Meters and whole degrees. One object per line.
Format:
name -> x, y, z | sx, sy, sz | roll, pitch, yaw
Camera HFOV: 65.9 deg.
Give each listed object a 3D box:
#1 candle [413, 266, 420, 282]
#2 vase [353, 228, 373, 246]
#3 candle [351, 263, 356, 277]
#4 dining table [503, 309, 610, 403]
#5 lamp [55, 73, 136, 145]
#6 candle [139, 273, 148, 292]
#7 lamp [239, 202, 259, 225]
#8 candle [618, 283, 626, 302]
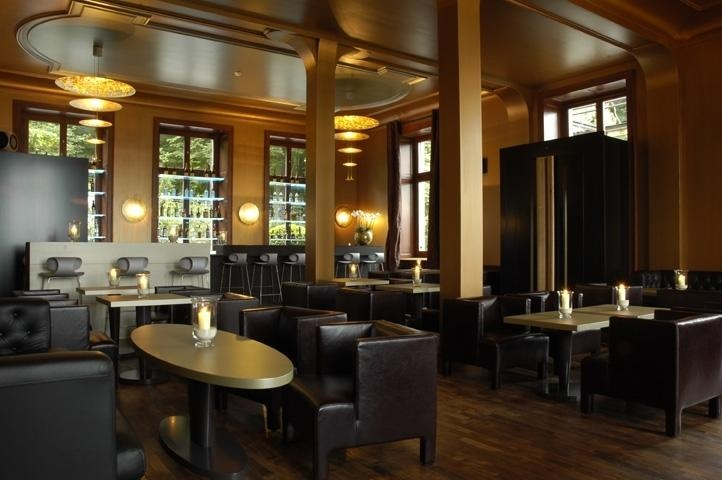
candle -> 0.872, 0.534, 8.671 | 0.069, 0.265, 0.263 | 3, 13, 13
vase -> 0.072, -0.051, 12.029 | 0.307, 0.500, 0.650 | 2, 13, 8
candle -> -0.120, 0.494, 9.135 | 0.106, 0.239, 0.226 | 0, 13, -1
dining table -> 2.319, 1.484, 6.327 | 0.880, 1.065, 1.672 | -2, -1, 39
lamp -> -5.231, -2.543, 10.811 | 1.510, 1.284, 1.532 | 1, 2, -12
candle -> -2.698, 0.520, 6.890 | 0.106, 0.185, 0.155 | -2, 13, -10
lamp -> -2.752, -0.648, 13.660 | 0.540, 0.530, 0.190 | -4, 13, -18
candle -> 3.056, 0.610, 6.490 | 0.096, 0.185, 0.165 | 6, 14, 25
